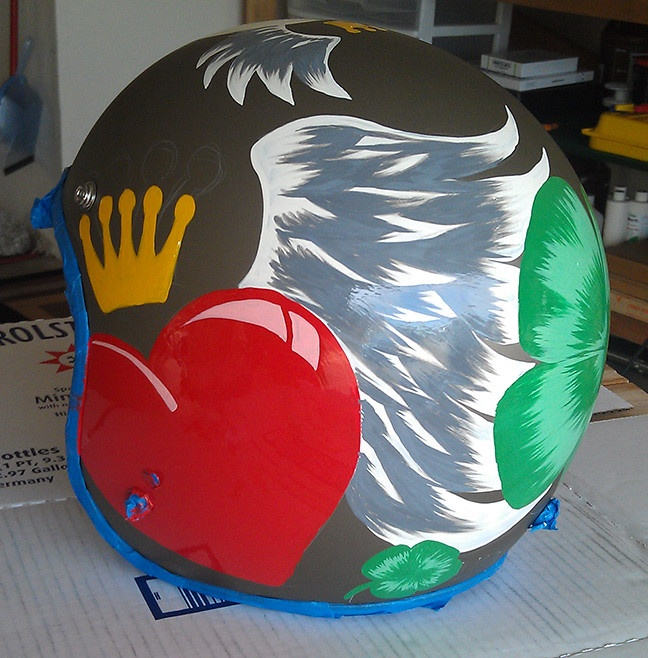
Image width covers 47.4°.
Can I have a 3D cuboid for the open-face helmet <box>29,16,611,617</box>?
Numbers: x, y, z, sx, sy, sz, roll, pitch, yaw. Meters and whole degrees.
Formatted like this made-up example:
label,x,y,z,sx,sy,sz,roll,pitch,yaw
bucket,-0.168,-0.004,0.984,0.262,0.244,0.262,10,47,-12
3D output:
label,x,y,z,sx,sy,sz,roll,pitch,yaw
open-face helmet,0.018,0.024,0.722,0.570,0.371,0.422,3,8,13
